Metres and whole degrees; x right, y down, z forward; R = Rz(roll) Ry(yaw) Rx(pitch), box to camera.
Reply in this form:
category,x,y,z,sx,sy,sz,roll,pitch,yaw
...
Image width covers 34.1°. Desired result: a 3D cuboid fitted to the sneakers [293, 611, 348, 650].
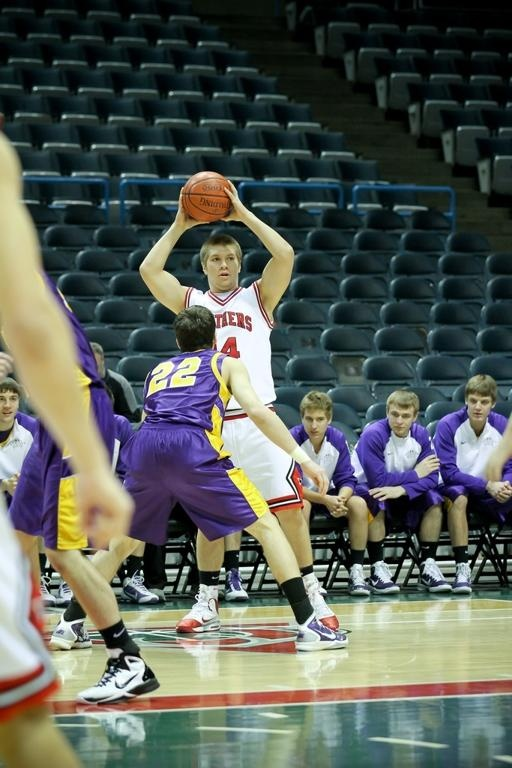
category,x,y,z,sx,sy,sz,roll,pitch,yaw
sneakers,0.259,1.013,3.451,0.274,0.159,0.102,-1,-2,-32

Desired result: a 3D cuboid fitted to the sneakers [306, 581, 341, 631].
category,x,y,z,sx,sy,sz,roll,pitch,yaw
sneakers,0.334,1.018,3.714,0.098,0.117,0.284,-40,25,5

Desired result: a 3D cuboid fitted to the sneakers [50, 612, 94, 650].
category,x,y,z,sx,sy,sz,roll,pitch,yaw
sneakers,-0.754,1.043,3.517,0.086,0.104,0.254,0,-4,31

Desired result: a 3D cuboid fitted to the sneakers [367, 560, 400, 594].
category,x,y,z,sx,sy,sz,roll,pitch,yaw
sneakers,0.814,1.258,5.334,0.163,0.224,0.257,-4,8,4

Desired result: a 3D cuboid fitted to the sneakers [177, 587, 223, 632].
category,x,y,z,sx,sy,sz,roll,pitch,yaw
sneakers,-0.245,1.082,3.931,0.119,0.195,0.313,-5,-10,37

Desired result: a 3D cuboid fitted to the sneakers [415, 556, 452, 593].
category,x,y,z,sx,sy,sz,roll,pitch,yaw
sneakers,1.149,1.257,5.410,0.122,0.222,0.287,-7,9,-17

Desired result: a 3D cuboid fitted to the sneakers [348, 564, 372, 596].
category,x,y,z,sx,sy,sz,roll,pitch,yaw
sneakers,0.640,1.233,5.239,0.122,0.174,0.255,-4,8,4

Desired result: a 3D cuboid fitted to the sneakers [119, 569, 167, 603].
category,x,y,z,sx,sy,sz,roll,pitch,yaw
sneakers,-0.676,1.243,5.086,0.131,0.155,0.325,-1,-3,-35
